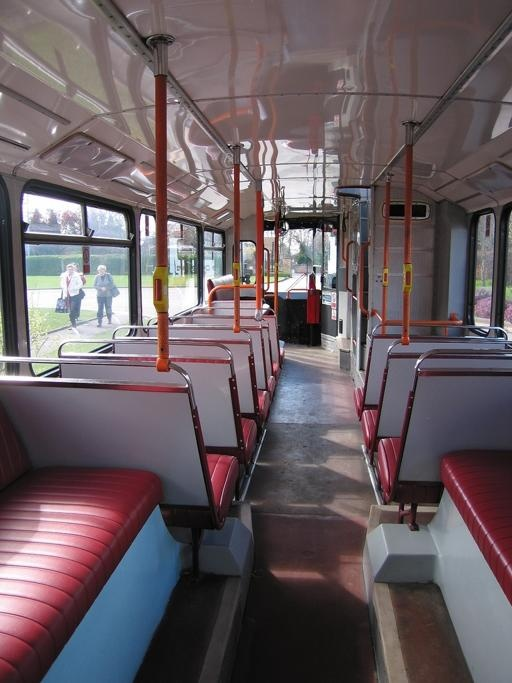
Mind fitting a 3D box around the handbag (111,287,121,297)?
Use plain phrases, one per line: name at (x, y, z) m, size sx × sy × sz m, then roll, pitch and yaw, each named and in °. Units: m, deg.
handbag at (-1.506, -0.529, 4.798) m, size 0.077 × 0.098 × 0.093 m, roll -8°, pitch 15°, yaw -5°
